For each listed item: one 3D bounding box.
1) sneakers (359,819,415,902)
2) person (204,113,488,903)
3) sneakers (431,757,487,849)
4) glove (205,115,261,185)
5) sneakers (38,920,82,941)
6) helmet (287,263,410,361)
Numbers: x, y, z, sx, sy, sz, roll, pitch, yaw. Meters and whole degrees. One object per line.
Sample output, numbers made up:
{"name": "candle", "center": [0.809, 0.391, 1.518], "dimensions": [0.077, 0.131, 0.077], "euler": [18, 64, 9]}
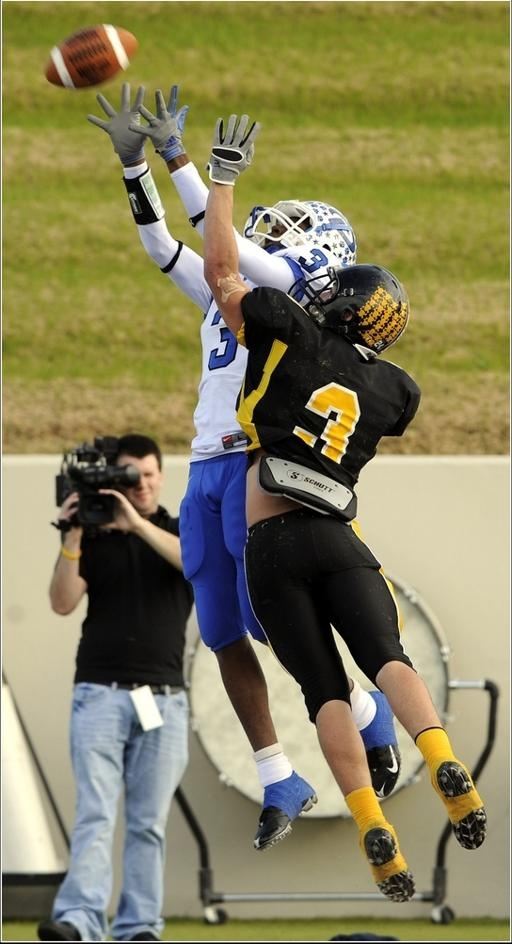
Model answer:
{"name": "sneakers", "center": [0.421, 1.124, 3.204], "dimensions": [0.099, 0.240, 0.128], "euler": [-38, 2, -44]}
{"name": "person", "center": [0.221, 0.069, 3.428], "dimensions": [0.647, 2.240, 1.332], "euler": [-3, 19, -10]}
{"name": "sneakers", "center": [0.585, 0.962, 3.195], "dimensions": [0.153, 0.327, 0.157], "euler": [4, 20, 11]}
{"name": "glove", "center": [-0.080, -1.040, 3.692], "dimensions": [0.176, 0.265, 0.075], "euler": [12, -24, 3]}
{"name": "sneakers", "center": [-0.785, 1.819, 4.421], "dimensions": [0.194, 0.067, 0.076], "euler": [6, -4, 13]}
{"name": "helmet", "center": [0.323, -0.526, 3.685], "dimensions": [0.381, 0.258, 0.274], "euler": [19, -1, -2]}
